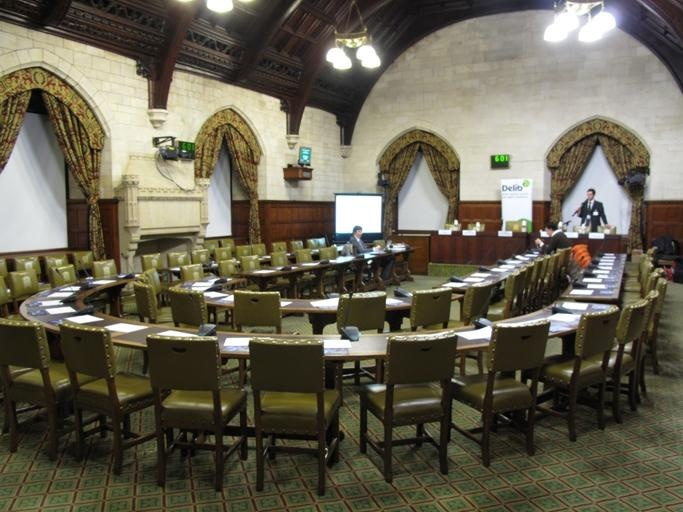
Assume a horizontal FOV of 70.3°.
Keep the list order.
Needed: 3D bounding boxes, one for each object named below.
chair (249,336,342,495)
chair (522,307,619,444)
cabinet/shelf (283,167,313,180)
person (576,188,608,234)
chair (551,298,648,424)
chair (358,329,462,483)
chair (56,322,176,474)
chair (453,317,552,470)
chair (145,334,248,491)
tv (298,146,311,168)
[{"bbox_3d":[-0.355,1.162,3.783,0.663,1.161,0.542,-1,6,1],"label":"chair"},{"bbox_3d":[2.138,1.040,4.511,0.698,1.101,0.712,-1,1,-21],"label":"chair"},{"bbox_3d":[-1.270,-2.345,13.932,0.531,0.424,0.840,3,7,32],"label":"cabinet/shelf"},{"bbox_3d":[6.561,-0.993,12.728,0.860,1.522,0.487,12,38,41],"label":"person"},{"bbox_3d":[2.731,0.932,5.192,0.965,1.619,1.018,1,3,40],"label":"chair"},{"bbox_3d":[0.535,1.145,3.935,0.703,1.129,0.586,-3,6,-19],"label":"chair"},{"bbox_3d":[-1.896,1.135,4.116,0.751,1.157,0.803,0,3,8],"label":"chair"},{"bbox_3d":[1.387,1.095,4.134,0.773,1.145,0.495,-4,7,-28],"label":"chair"},{"bbox_3d":[-1.150,1.149,3.854,0.707,1.169,0.537,0,6,8],"label":"chair"},{"bbox_3d":[-1.074,-2.902,14.282,0.281,0.608,0.775,1,6,19],"label":"tv"}]
